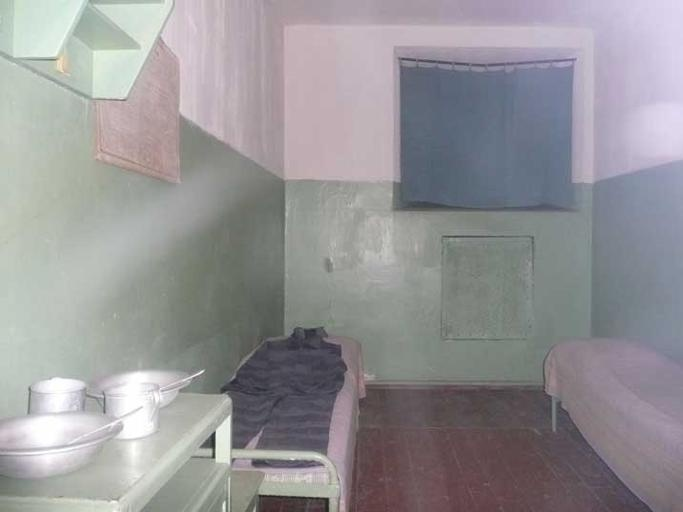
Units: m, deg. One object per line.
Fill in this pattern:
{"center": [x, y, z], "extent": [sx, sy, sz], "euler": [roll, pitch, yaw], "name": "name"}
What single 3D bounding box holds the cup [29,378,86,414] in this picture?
{"center": [-0.875, 0.433, 1.897], "extent": [0.130, 0.110, 0.132], "euler": [6, 0, 0], "name": "cup"}
